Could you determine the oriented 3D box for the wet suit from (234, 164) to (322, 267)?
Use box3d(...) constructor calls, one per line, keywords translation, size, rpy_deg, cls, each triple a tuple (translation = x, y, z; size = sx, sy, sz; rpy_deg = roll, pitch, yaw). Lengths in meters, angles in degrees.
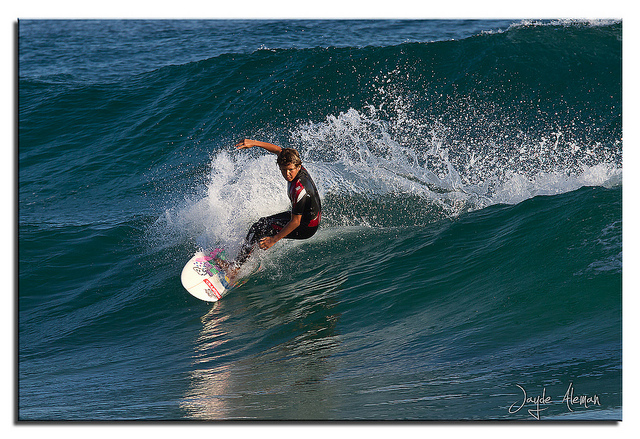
box3d(translation=(-0.754, -0.117, 16.931), size=(0.900, 2.171, 1.466), rpy_deg=(0, 9, -44), cls="wet suit")
